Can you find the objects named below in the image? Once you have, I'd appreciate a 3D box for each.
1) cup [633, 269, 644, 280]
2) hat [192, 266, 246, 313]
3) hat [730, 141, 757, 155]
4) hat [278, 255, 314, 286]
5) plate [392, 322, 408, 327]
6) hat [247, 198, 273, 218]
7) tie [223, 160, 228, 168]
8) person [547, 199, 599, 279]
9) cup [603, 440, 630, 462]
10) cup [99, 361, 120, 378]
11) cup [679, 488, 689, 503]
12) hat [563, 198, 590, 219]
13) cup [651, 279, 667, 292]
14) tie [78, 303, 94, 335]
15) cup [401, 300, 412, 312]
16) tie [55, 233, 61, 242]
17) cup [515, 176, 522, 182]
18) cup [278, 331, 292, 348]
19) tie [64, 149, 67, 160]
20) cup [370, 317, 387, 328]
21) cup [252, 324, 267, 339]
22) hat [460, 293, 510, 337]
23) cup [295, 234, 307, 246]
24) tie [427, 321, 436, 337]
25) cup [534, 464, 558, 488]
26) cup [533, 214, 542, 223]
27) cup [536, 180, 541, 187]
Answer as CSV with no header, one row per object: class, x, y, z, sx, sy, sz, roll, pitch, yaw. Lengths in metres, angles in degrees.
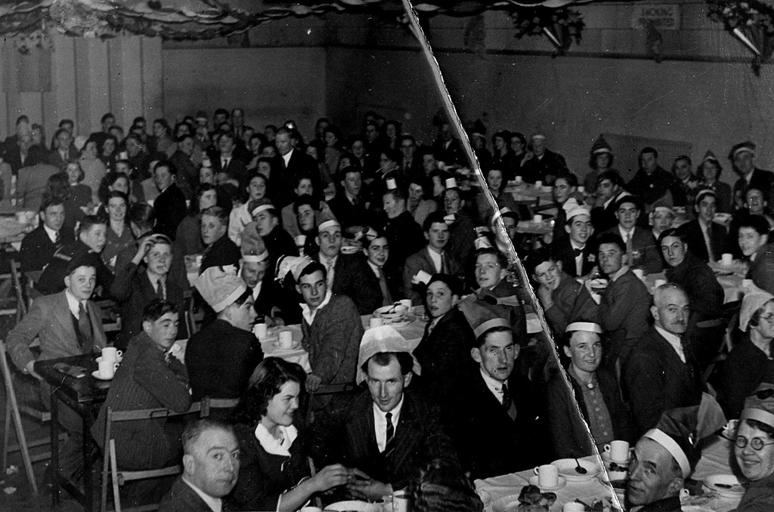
cup,2.732,0.207,7.990,0.133,0.090,0.103,6,13,43
hat,-1.329,0.255,5.837,0.421,0.160,0.311,-23,52,-20
hat,5.898,-1.794,12.150,0.378,0.149,0.417,3,8,40
hat,-0.911,0.131,7.293,0.340,0.181,0.327,-14,2,-17
plate,0.138,0.697,7.391,0.092,0.018,0.056,-7,26,-1
hat,-1.512,-0.596,8.958,0.244,0.116,0.316,-16,3,10
tie,-2.852,-1.630,13.105,0.084,0.124,0.073,-3,6,-28
person,2.331,-0.194,8.995,0.956,0.852,0.422,3,6,-16
cup,1.557,1.323,4.989,0.181,0.113,0.127,-2,5,8
cup,-2.247,0.918,5.926,0.217,0.139,0.138,4,-4,-41
cup,1.912,1.539,4.761,0.087,0.106,0.038,-1,-1,-29
hat,2.296,-0.579,9.026,0.349,0.254,0.342,4,8,34
cup,2.674,0.295,7.238,0.118,0.106,0.116,-11,2,0
tie,-2.704,0.571,6.599,0.148,0.236,0.058,13,9,11
cup,0.194,0.525,7.708,0.101,0.085,0.125,0,-1,19
tie,-3.914,-0.220,8.738,0.024,0.092,0.025,-1,-21,15
cup,2.445,-1.448,13.757,0.125,0.105,0.120,0,10,0
cup,-0.938,0.783,6.787,0.120,0.111,0.154,-1,-5,-4
tie,-6.049,-1.913,13.898,0.092,0.164,0.210,-2,6,-22
cup,-0.087,0.628,6.951,0.141,0.098,0.139,0,-3,0
cup,-1.213,0.727,7.095,0.206,0.144,0.148,-3,11,-7
hat,0.793,0.457,5.806,0.513,0.357,0.268,-2,8,-16
cup,-1.069,-0.185,9.044,0.116,0.116,0.138,-2,-14,10
tie,0.379,0.622,6.364,0.038,0.100,0.080,37,-26,-18
cup,1.026,1.434,4.776,0.113,0.111,0.161,-1,-1,-4
cup,2.289,-0.555,11.150,0.126,0.132,0.213,1,5,11
cup,2.764,-1.314,13.420,0.121,0.105,0.109,3,7,29
